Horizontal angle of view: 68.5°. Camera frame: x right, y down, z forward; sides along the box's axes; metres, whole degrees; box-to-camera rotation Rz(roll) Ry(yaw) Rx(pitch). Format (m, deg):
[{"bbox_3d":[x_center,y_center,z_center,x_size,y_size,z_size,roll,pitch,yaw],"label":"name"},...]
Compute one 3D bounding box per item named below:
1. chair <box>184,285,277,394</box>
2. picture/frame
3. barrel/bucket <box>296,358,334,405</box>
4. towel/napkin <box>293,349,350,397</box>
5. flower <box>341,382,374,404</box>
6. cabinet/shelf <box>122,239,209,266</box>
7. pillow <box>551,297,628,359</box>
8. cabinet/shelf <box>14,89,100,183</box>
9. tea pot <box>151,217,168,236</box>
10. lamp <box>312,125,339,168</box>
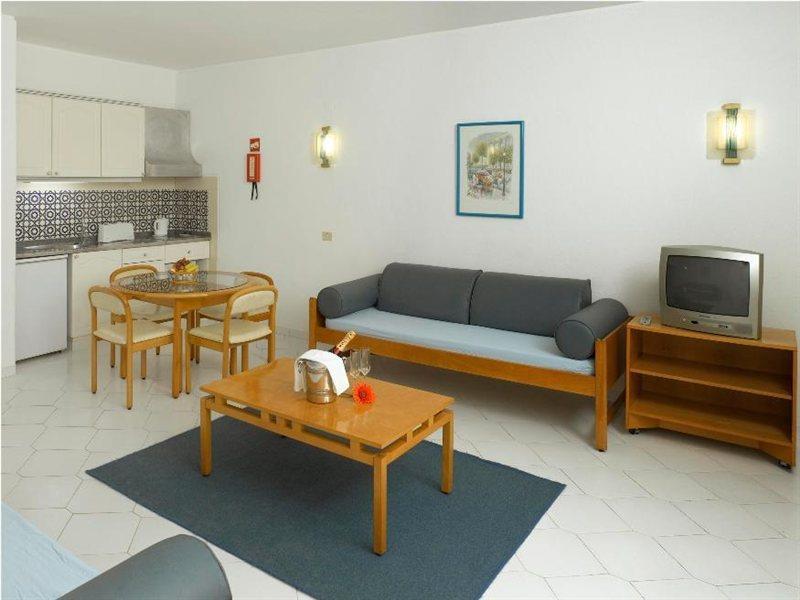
[{"bbox_3d":[-1.481,0.327,5.067,0.674,1.232,0.694,8,11,29],"label":"chair"},{"bbox_3d":[0.842,-1.222,5.404,0.809,1.178,0.050,3,5,31],"label":"picture/frame"},{"bbox_3d":[-0.520,0.505,3.632,0.282,0.311,0.183,1,6,23],"label":"barrel/bucket"},{"bbox_3d":[-0.477,0.415,3.705,0.284,0.307,0.290,4,4,19],"label":"towel/napkin"},{"bbox_3d":[-0.261,0.594,3.725,0.133,0.063,0.140,15,0,0],"label":"flower"},{"bbox_3d":[-2.769,-0.556,6.984,0.116,0.291,1.127,8,15,35],"label":"cabinet/shelf"},{"bbox_3d":[1.475,0.221,4.518,0.342,0.329,0.687,10,16,40],"label":"pillow"},{"bbox_3d":[-3.589,-1.707,6.093,0.418,0.999,1.070,5,6,33],"label":"cabinet/shelf"},{"bbox_3d":[-3.009,-0.919,7.362,0.188,0.216,0.365,-5,14,-23],"label":"tea pot"},{"bbox_3d":[-0.809,-1.649,6.328,0.311,0.442,0.109,10,15,39],"label":"lamp"}]
